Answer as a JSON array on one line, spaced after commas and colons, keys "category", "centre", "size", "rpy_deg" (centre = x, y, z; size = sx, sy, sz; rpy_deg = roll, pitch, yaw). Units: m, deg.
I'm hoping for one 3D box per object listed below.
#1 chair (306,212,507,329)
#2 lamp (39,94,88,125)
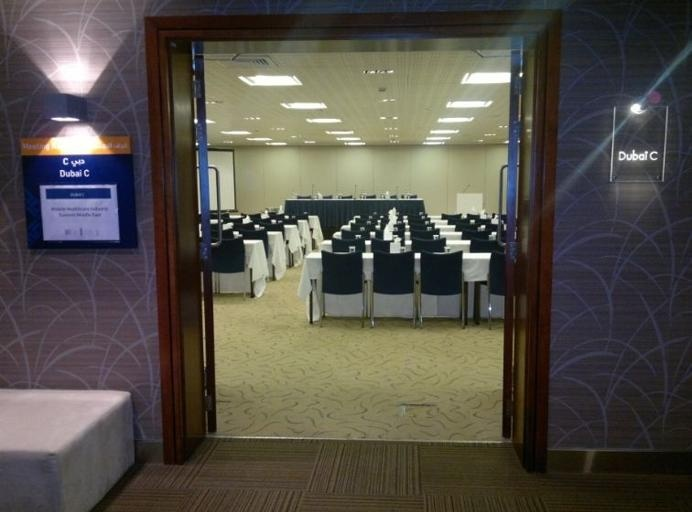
[{"category": "chair", "centre": [0.705, 0.140, 7.686], "size": [2.357, 0.994, 2.529], "rpy_deg": [0, 11, 5]}, {"category": "lamp", "centre": [-1.815, -0.946, 3.485], "size": [0.277, 0.171, 0.182], "rpy_deg": [-4, 11, -13]}]
